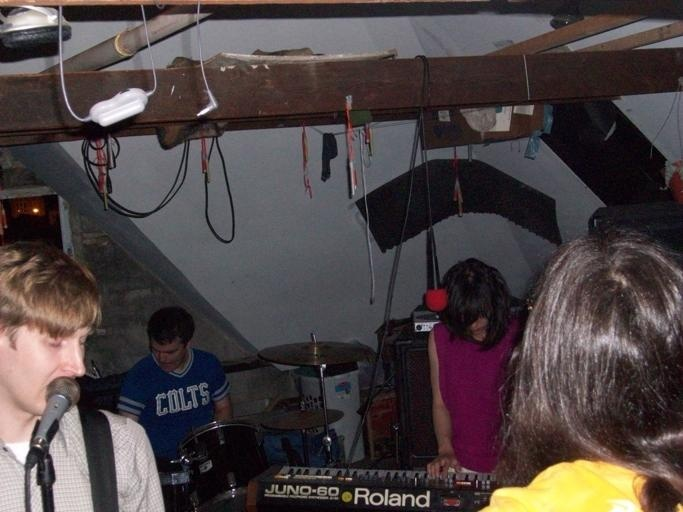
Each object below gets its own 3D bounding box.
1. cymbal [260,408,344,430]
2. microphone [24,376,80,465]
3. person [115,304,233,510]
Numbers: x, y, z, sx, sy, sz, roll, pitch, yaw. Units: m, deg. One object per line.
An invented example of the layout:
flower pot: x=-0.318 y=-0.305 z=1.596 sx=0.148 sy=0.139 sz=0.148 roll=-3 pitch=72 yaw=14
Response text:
cymbal: x=-0.307 y=1.124 z=4.165 sx=0.316 sy=0.016 sz=0.341 roll=4 pitch=6 yaw=31
microphone: x=-0.762 y=0.423 z=1.642 sx=0.075 sy=0.250 sz=0.076 roll=-2 pitch=-39 yaw=22
person: x=-1.040 y=0.876 z=3.992 sx=0.903 sy=1.594 sz=0.865 roll=1 pitch=-3 yaw=-12
